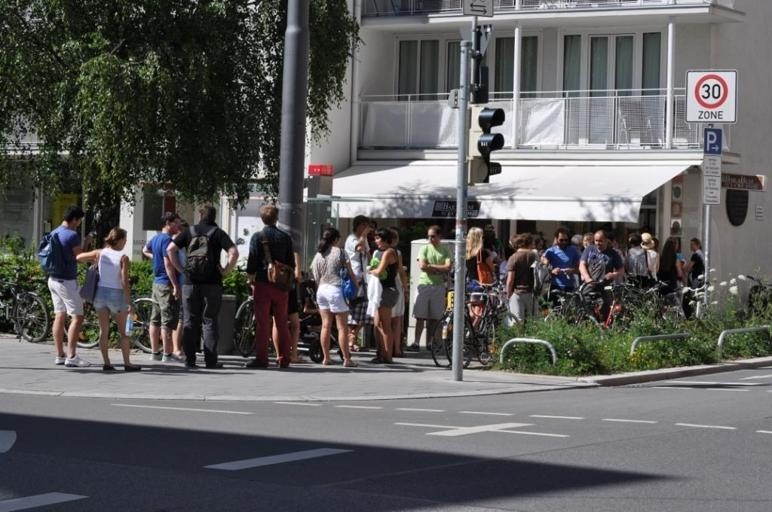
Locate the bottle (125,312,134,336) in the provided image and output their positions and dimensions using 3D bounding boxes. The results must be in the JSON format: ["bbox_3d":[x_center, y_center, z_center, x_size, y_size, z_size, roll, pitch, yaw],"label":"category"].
[{"bbox_3d":[-4.307,1.158,18.241,0.099,0.414,0.245,1,5,-2],"label":"bottle"}]

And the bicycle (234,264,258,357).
[{"bbox_3d":[-2.684,1.041,20.856,0.509,1.790,0.507,1,0,2],"label":"bicycle"}]

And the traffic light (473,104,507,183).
[{"bbox_3d":[1.734,-1.872,18.355,0.475,1.268,0.603,2,4,4],"label":"traffic light"}]

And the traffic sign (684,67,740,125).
[{"bbox_3d":[6.383,-3.134,21.263,0.916,1.016,0.464,3,5,10],"label":"traffic sign"}]
